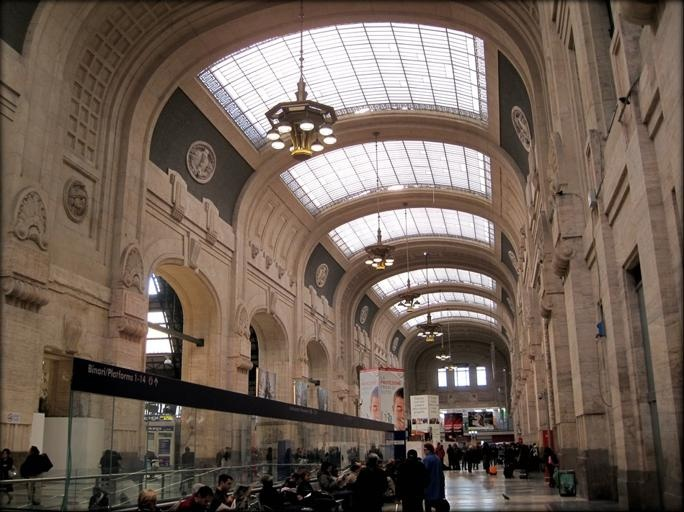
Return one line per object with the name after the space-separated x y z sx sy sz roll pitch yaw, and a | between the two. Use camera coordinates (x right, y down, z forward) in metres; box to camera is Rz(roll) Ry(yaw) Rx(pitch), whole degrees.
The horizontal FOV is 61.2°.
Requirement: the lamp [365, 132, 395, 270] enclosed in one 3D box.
1.682 -2.539 26.035 1.368 5.851 1.431 -3 1 -32 | lamp

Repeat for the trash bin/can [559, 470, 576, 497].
4.895 4.906 12.547 0.344 0.548 0.467 -8 -25 16 | trash bin/can
